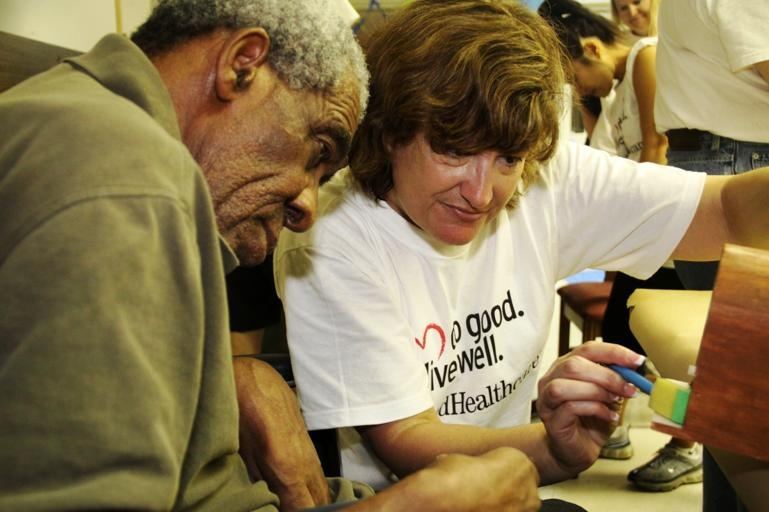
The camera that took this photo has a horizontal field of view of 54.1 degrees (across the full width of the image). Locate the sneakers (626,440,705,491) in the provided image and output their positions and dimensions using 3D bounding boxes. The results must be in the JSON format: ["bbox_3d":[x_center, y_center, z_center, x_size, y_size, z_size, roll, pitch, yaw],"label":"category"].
[{"bbox_3d":[0.950,0.692,2.558,0.286,0.151,0.119,-6,6,-30],"label":"sneakers"}]
